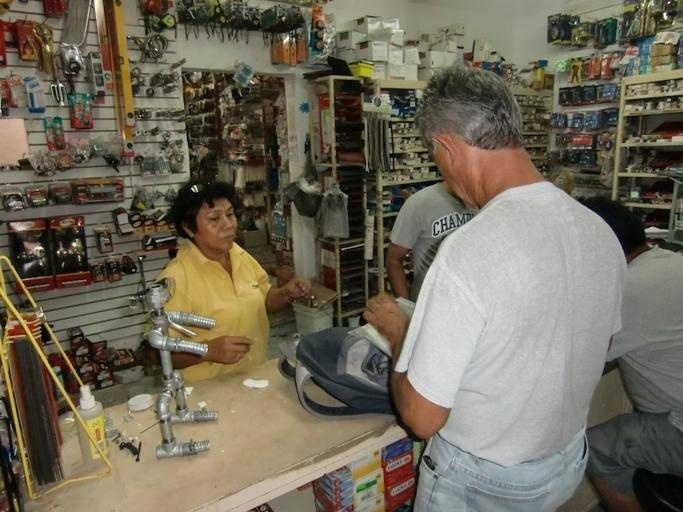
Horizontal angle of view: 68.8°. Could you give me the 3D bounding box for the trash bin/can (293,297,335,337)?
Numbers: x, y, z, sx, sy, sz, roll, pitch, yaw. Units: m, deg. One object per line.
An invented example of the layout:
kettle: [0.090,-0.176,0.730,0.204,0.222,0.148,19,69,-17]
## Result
trash bin/can: [-0.301,0.675,5.401,0.406,0.322,0.343,4,11,42]

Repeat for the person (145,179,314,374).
person: [-0.634,0.153,2.874,0.631,1.085,0.791,13,20,39]

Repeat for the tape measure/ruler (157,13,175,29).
tape measure/ruler: [-1.537,-2.068,4.372,0.105,0.038,0.142,-15,61,-27]

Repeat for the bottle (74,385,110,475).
bottle: [-0.949,0.653,1.906,0.107,0.300,0.106,-4,8,1]
